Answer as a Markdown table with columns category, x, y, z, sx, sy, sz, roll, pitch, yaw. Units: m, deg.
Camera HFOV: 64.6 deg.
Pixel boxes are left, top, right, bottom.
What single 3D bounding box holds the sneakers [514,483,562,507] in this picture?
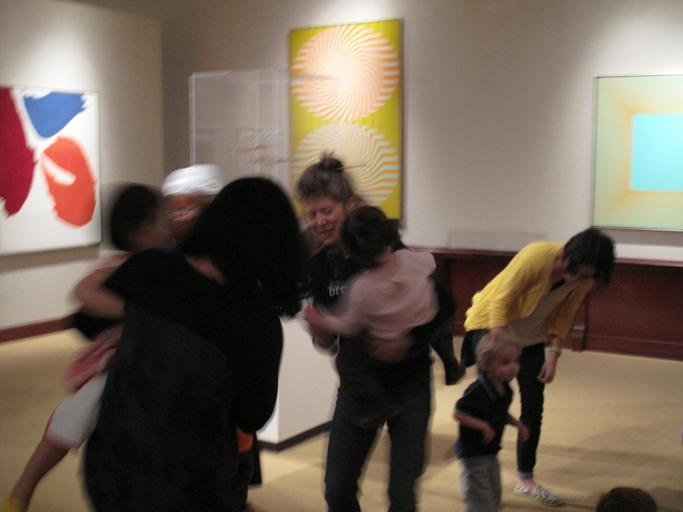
| category | x | y | z | sx | sy | sz | roll | pitch | yaw |
| --- | --- | --- | --- | --- | --- | --- | --- | --- | --- |
| sneakers | 0.695 | 0.838 | 1.904 | 0.134 | 0.057 | 0.070 | 10 | 10 | 12 |
